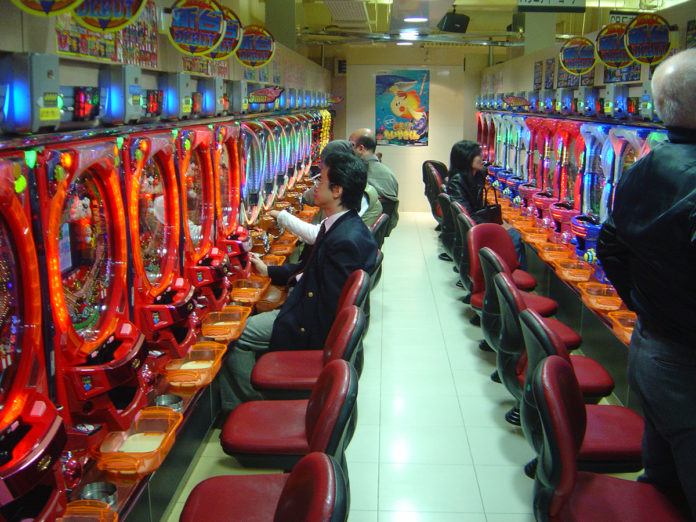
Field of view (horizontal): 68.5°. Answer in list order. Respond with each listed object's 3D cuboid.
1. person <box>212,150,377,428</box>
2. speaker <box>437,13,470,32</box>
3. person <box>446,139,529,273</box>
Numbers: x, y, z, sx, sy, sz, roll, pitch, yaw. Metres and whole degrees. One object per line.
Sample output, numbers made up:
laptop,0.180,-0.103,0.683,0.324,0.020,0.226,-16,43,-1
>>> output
person,-0.305,0.158,3.216,0.882,1.736,1.048,7,16,24
speaker,1.821,-4.050,8.693,0.474,0.365,0.449,1,15,0
person,1.664,-0.558,6.521,0.910,1.783,0.735,5,0,29
